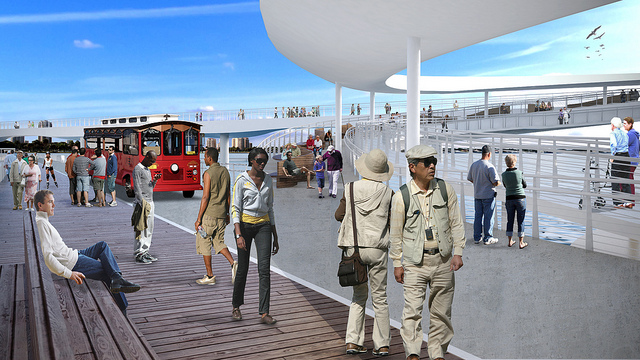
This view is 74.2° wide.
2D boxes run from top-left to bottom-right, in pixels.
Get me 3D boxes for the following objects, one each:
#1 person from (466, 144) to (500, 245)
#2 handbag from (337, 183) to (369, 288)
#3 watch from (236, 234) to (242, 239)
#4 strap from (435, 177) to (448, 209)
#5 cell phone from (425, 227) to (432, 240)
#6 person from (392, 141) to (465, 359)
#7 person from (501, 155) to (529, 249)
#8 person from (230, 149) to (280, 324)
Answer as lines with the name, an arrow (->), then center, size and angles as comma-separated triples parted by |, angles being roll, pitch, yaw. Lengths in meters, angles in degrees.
person -> 4.573, 0.481, 11.772 | 0.822, 2.878, 0.702 | 4, 11, 22
handbag -> 0.579, 0.931, 7.013 | 0.497, 1.711, 0.453 | 1, 11, 4
watch -> -1.449, 1.000, 7.612 | 0.100, 0.058, 0.077 | -2, 11, -9
strap -> 2.012, 0.199, 6.953 | 0.161, 0.444, 0.277 | 1, 11, 7
cell phone -> 1.750, 0.859, 6.785 | 0.110, 0.177, 0.043 | 0, -6, 3
person -> 1.729, 1.173, 6.855 | 1.141, 3.372, 0.734 | 2, 11, 9
person -> 5.463, 0.561, 11.716 | 0.802, 2.544, 0.850 | 5, 12, 25
person -> -1.222, 1.057, 7.811 | 0.863, 3.252, 0.637 | -2, 11, -11
